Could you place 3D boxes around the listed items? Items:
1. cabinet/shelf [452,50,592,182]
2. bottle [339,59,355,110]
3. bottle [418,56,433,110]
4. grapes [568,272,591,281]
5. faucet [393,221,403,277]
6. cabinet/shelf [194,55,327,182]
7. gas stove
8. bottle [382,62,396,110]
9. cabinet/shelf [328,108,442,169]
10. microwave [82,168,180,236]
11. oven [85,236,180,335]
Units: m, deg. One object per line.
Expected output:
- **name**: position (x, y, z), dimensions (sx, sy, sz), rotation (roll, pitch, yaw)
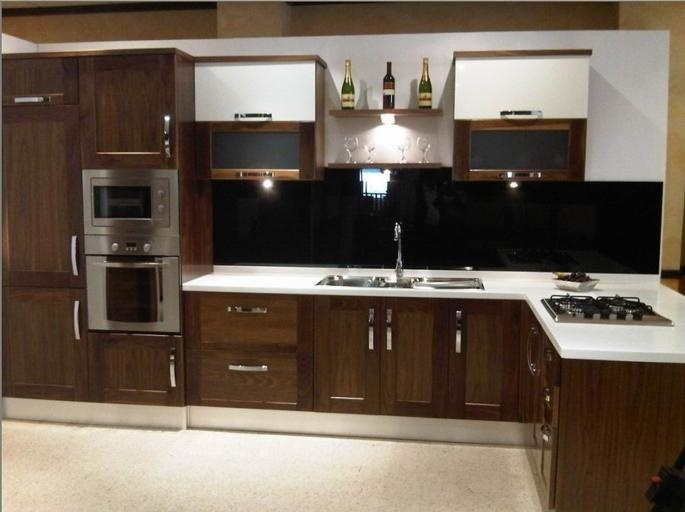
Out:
- **cabinet/shelf**: position (1.247, -1.033, 4.401), dimensions (0.896, 0.901, 0.558), rotation (2, 27, 13)
- **bottle**: position (0.033, -1.237, 4.485), dimensions (0.101, 0.374, 0.225), rotation (1, 7, 0)
- **bottle**: position (0.585, -1.231, 4.449), dimensions (0.105, 0.360, 0.217), rotation (2, 7, 7)
- **grapes**: position (1.593, 0.133, 4.194), dimensions (0.084, 0.035, 0.087), rotation (5, 8, 38)
- **faucet**: position (0.401, -0.053, 4.582), dimensions (0.068, 0.401, 0.158), rotation (1, 7, 4)
- **cabinet/shelf**: position (-0.632, -0.953, 4.570), dimensions (0.849, 0.829, 0.477), rotation (0, 5, -2)
- **gas stove**: position (1.453, 0.286, 3.528), dimensions (0.614, 0.078, 0.508), rotation (2, 8, 4)
- **bottle**: position (0.320, -1.215, 4.434), dimensions (0.089, 0.357, 0.260), rotation (1, 7, 3)
- **cabinet/shelf**: position (0.395, -0.842, 4.665), dimensions (0.889, 0.441, 0.265), rotation (3, 6, 36)
- **microwave**: position (-1.453, -0.371, 4.420), dimensions (0.671, 0.477, 0.372), rotation (1, 5, 6)
- **oven**: position (-1.450, 0.215, 4.484), dimensions (0.702, 0.648, 0.515), rotation (0, 4, 7)
